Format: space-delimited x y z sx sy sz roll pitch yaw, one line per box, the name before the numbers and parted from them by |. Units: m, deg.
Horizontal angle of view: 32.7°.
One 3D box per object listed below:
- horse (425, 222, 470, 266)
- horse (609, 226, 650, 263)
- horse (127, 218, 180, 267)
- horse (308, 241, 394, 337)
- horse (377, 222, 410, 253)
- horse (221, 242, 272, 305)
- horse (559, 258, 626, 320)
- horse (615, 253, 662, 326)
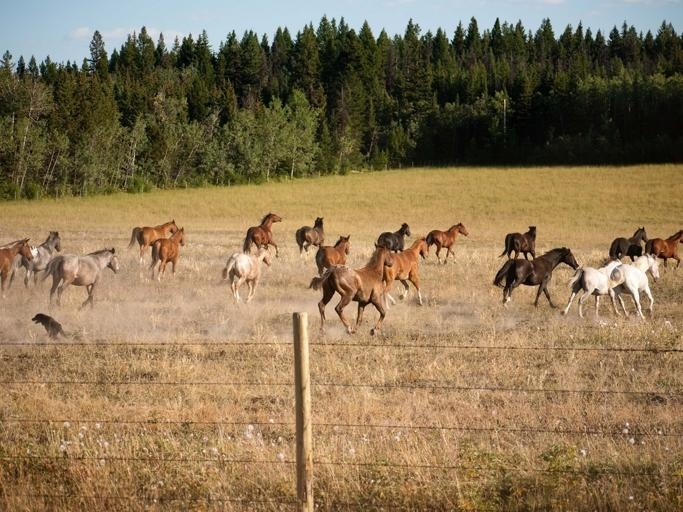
horse | 8.887 -1.186 95.332 2.260 3.181 8.389 4 17 16
horse | 22.591 -0.436 90.616 3.834 3.538 1.066 2 4 -34
horse | -14.915 -1.507 91.607 2.917 4.849 2.992 9 13 43
horse | 1.006 2.521 80.839 4.831 5.450 1.736 0 12 -3
horse | 4.309 -1.362 93.499 0.788 2.430 2.917 17 27 38
horse | -6.815 1.174 85.742 2.494 3.438 5.252 3 16 10
horse | 18.826 1.896 85.106 1.964 6.133 7.324 6 8 44
horse | 21.371 2.203 83.603 1.440 4.618 5.813 -5 -2 41
